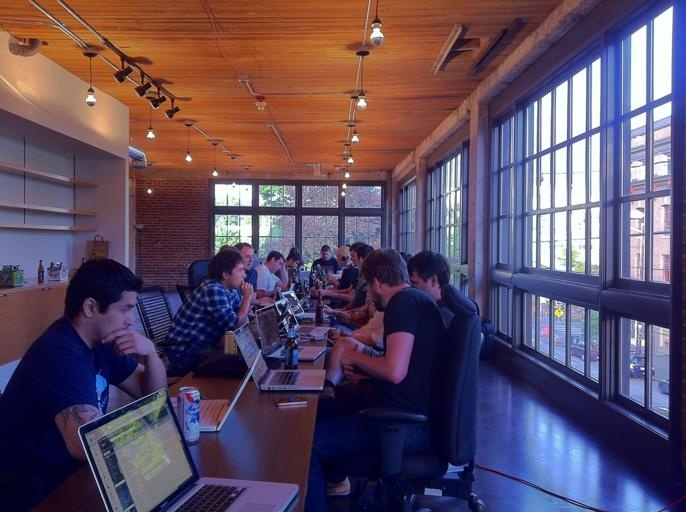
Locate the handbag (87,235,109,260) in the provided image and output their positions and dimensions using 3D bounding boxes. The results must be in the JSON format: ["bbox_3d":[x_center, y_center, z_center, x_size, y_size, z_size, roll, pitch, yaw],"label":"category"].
[{"bbox_3d":[-3.508,-0.126,7.170,0.292,0.338,0.356,-2,1,-22],"label":"handbag"}]

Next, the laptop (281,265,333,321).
[{"bbox_3d":[-0.555,0.482,6.611,0.179,0.509,0.783,-11,15,6],"label":"laptop"}]

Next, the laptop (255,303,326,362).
[{"bbox_3d":[-0.370,0.567,3.473,0.337,0.273,0.445,1,1,1],"label":"laptop"}]

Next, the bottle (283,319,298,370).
[{"bbox_3d":[-0.322,0.586,3.132,0.075,0.261,0.074,2,12,0],"label":"bottle"}]

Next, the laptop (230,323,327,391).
[{"bbox_3d":[-0.343,0.556,2.840,0.466,0.322,0.526,-1,-4,-3],"label":"laptop"}]

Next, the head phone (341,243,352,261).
[{"bbox_3d":[0.035,-0.053,7.909,0.184,0.234,0.227,4,-3,-44],"label":"head phone"}]

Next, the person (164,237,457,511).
[{"bbox_3d":[-0.044,0.790,3.465,1.296,2.203,0.973,6,-10,7],"label":"person"}]

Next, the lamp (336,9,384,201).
[{"bbox_3d":[0.265,-2.166,7.597,0.443,3.213,0.441,6,-2,-7],"label":"lamp"}]

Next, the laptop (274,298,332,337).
[{"bbox_3d":[-0.364,0.555,4.212,0.308,0.218,0.350,3,3,-1],"label":"laptop"}]
